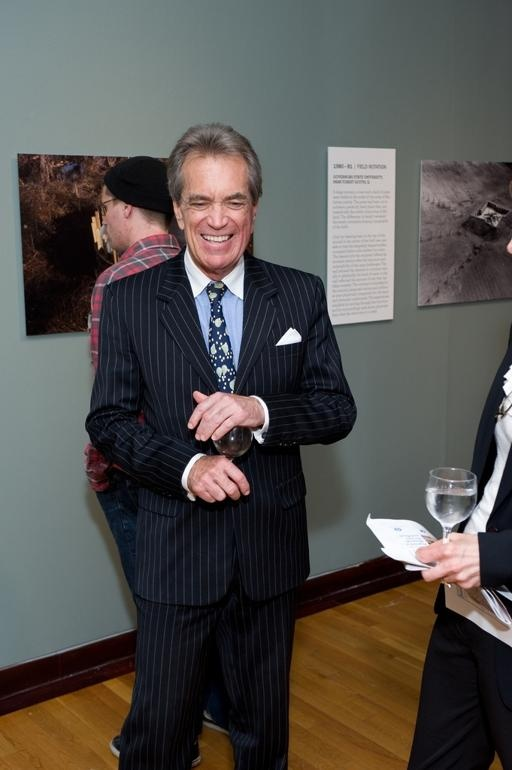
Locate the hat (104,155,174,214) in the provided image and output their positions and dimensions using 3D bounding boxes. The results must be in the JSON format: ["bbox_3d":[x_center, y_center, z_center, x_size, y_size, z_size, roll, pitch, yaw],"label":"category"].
[{"bbox_3d":[-0.362,-0.631,1.853,0.175,0.092,0.232,-5,40,-20],"label":"hat"}]

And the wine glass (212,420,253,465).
[{"bbox_3d":[-0.050,0.115,1.171,0.066,0.074,0.058,5,6,43],"label":"wine glass"}]

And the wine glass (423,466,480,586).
[{"bbox_3d":[0.334,0.204,1.038,0.072,0.123,0.224,2,5,17],"label":"wine glass"}]
